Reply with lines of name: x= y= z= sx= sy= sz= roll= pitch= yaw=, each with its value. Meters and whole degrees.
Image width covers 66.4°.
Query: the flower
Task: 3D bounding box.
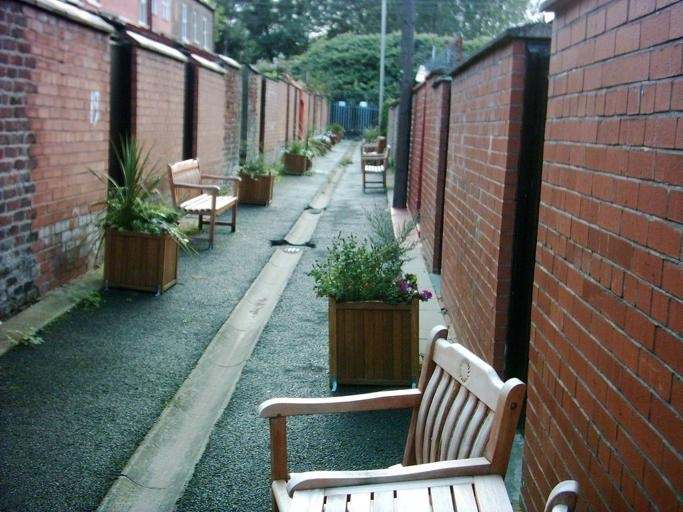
flower: x=0.219 y=0.332 z=4.648 sx=0.895 sy=1.088 sz=0.808 roll=-6 pitch=60 yaw=0

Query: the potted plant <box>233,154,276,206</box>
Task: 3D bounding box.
potted plant: x=-2.000 y=-1.967 z=11.720 sx=0.790 sy=1.243 sz=0.963 roll=4 pitch=47 yaw=-15

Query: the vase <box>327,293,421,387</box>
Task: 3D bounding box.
vase: x=0.271 y=0.617 z=4.524 sx=0.853 sy=0.823 sz=0.947 roll=-2 pitch=10 yaw=-9

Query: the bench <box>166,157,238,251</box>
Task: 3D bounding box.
bench: x=-2.313 y=-0.875 z=8.884 sx=0.737 sy=1.352 sz=1.874 roll=2 pitch=13 yaw=-3

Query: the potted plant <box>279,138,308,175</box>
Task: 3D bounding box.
potted plant: x=-1.629 y=-3.451 z=18.043 sx=0.959 sy=1.606 sz=1.097 roll=-5 pitch=13 yaw=-26

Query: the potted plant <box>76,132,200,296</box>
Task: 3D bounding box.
potted plant: x=-2.272 y=-0.339 z=5.940 sx=0.899 sy=1.470 sz=0.491 roll=4 pitch=13 yaw=2
